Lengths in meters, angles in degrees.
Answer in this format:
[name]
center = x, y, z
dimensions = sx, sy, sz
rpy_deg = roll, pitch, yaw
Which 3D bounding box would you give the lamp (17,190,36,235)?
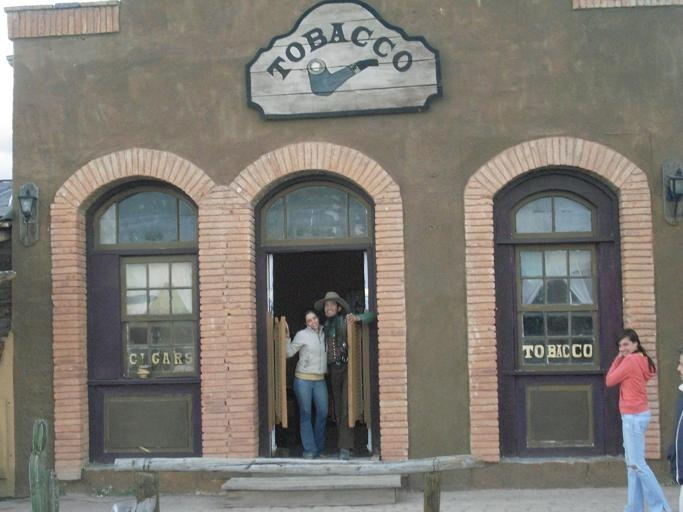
[lamp]
center = -4.369, -0.628, 21.526
dimensions = 0.247, 0.678, 0.200
rpy_deg = 2, -11, -11

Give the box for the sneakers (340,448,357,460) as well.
[sneakers]
center = 0.082, 2.786, 21.614
dimensions = 0.141, 0.236, 0.185
rpy_deg = -10, -22, 29

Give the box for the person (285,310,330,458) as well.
[person]
center = -0.460, 1.799, 21.689
dimensions = 0.437, 2.048, 0.808
rpy_deg = -6, -13, 31
